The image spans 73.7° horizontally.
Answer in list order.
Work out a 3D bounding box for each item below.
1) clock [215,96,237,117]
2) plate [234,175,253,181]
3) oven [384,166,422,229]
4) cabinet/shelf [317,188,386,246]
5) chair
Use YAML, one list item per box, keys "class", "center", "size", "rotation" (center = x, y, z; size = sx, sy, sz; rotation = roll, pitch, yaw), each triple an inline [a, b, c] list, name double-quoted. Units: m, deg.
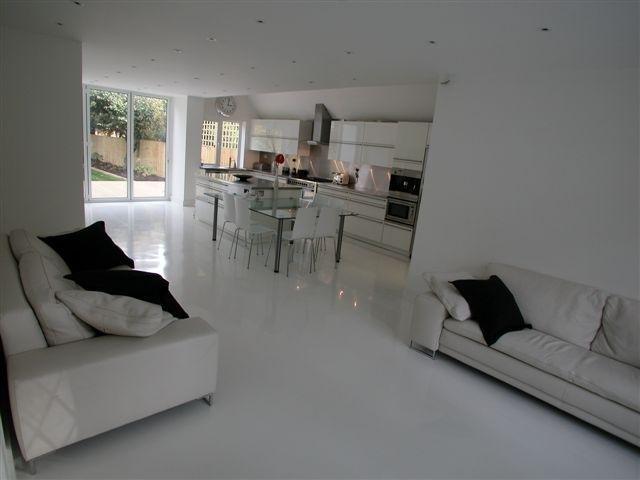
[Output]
- class: "clock"
  center: [-2.465, -3.496, 11.345]
  size: [0.474, 0.498, 0.110]
  rotation: [-3, 9, -43]
- class: "plate"
  center: [-1.577, -1.286, 8.950]
  size: [0.274, 0.095, 0.275]
  rotation: [-10, 18, -34]
- class: "oven"
  center: [1.646, -0.841, 8.271]
  size: [0.593, 1.054, 0.496]
  rotation: [13, 19, 23]
- class: "cabinet/shelf"
  center: [0.657, -0.399, 8.365]
  size: [0.325, 0.616, 1.020]
  rotation: [-7, 21, -40]
- class: "chair"
  center: [-0.632, -0.189, 7.521]
  size: [1.875, 1.054, 1.936]
  rotation: [-3, 14, -35]
